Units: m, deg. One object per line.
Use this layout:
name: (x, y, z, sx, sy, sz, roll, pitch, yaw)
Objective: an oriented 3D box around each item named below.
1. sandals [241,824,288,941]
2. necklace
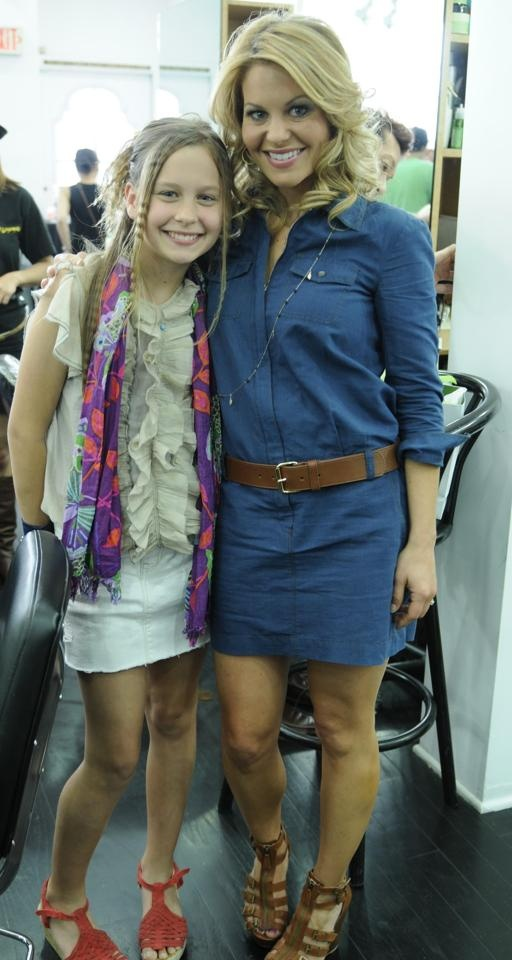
sandals: (0.032, 0.796, 1.430, 0.070, 0.098, 0.229, -3, 59, 14)
necklace: (0.033, -0.265, 1.134, 0.037, 0.326, 0.045, 20, -14, 37)
